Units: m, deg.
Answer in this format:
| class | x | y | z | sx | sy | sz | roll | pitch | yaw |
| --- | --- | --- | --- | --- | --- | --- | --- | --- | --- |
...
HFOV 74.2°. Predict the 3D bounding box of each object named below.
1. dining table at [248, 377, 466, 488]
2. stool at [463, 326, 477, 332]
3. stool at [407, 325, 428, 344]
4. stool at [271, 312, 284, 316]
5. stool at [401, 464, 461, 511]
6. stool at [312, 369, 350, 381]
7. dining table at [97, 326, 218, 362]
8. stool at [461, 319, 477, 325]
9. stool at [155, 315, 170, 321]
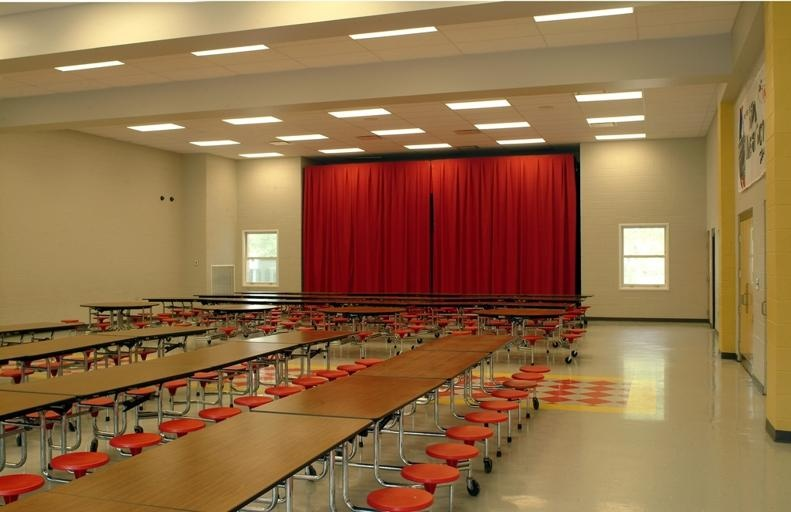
| class | x | y | z | sx | sy | sz | roll | pitch | yaw |
| --- | --- | --- | --- | --- | --- | --- | --- | --- | --- |
| dining table | -0.302 | 1.373 | 3.978 | 0.921 | 0.288 | 1.519 | 0 | 2 | 18 |
| stool | 1.575 | 1.519 | 10.862 | 0.329 | 0.077 | 0.267 | 0 | 0 | 8 |
| stool | 0.419 | 1.537 | 10.132 | 0.704 | 0.238 | 0.539 | 0 | -2 | 1 |
| stool | -2.872 | 1.386 | 12.530 | 0.356 | 0.083 | 0.203 | 0 | 0 | 5 |
| stool | 0.223 | 1.470 | 3.417 | 0.476 | 0.217 | 0.385 | 0 | -2 | 5 |
| stool | -0.717 | 1.293 | 5.777 | 0.388 | 0.090 | 0.316 | 0 | -1 | -4 |
| dining table | -3.440 | 1.251 | 7.063 | 1.832 | 0.280 | 0.673 | -7 | -7 | -19 |
| stool | 1.626 | 1.491 | 11.786 | 0.431 | 0.102 | 0.350 | -1 | 0 | 8 |
| stool | -5.272 | 1.412 | 11.890 | 0.299 | 0.071 | 0.241 | 0 | 1 | -1 |
